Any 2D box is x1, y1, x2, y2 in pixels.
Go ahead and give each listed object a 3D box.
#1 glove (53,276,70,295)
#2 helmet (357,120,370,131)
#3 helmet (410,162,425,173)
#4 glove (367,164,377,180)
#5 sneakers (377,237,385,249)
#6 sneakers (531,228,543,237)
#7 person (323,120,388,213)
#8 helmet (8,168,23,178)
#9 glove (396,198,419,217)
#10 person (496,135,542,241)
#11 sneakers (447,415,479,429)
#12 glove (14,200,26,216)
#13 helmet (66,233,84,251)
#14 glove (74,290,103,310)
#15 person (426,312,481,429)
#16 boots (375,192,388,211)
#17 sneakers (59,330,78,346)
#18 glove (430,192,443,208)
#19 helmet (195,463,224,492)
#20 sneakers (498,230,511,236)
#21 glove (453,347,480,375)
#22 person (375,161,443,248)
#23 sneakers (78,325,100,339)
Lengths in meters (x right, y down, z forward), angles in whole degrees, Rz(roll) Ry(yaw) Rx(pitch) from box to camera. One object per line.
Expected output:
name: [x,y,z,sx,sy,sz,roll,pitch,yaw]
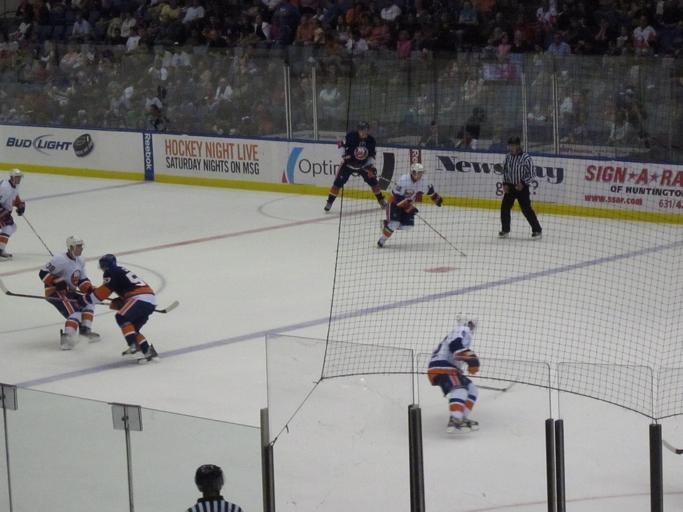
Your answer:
glove: [-3.299,0.347,13.653,0.178,0.129,0.107,7,19,28]
helmet: [0.363,-2.100,18.629,0.202,0.196,0.165,-4,28,6]
helmet: [1.116,-1.287,16.925,0.169,0.156,0.137,-17,3,24]
glove: [0.520,-1.396,19.037,0.143,0.200,0.205,-1,4,2]
sneakers: [0.603,-0.220,17.046,0.125,0.177,0.256,-2,16,1]
sneakers: [2.891,-0.339,17.043,0.086,0.129,0.132,10,19,-38]
person: [0.266,-1.493,19.073,0.922,1.546,0.856,-9,18,-22]
helmet: [-4.843,-1.199,17.080,0.208,0.172,0.161,-4,25,0]
glove: [0.991,-0.726,17.066,0.307,0.199,0.108,17,13,-24]
person: [2.660,-1.034,17.082,0.654,1.495,0.539,2,17,16]
sneakers: [1.168,1.599,11.190,0.332,0.146,0.121,-1,11,-16]
glove: [-4.792,-0.723,17.240,0.191,0.127,0.239,2,3,-11]
helmet: [-3.161,-0.155,13.658,0.180,0.147,0.139,-3,19,3]
glove: [-2.975,0.508,13.429,0.242,0.091,0.247,26,15,31]
person: [1.136,1.196,11.563,0.544,0.490,1.135,1,55,1]
boots: [0.691,-0.945,19.308,0.181,0.391,0.130,-14,29,-11]
sneakers: [-3.212,0.978,13.644,0.134,0.217,0.215,-6,2,-8]
glove: [1.415,-0.826,17.146,0.156,0.281,0.494,-1,17,6]
helmet: [-1.073,1.820,9.411,0.207,0.209,0.221,2,10,4]
sneakers: [2.436,-0.343,17.189,0.115,0.114,0.064,6,10,17]
glove: [1.255,1.049,11.340,0.176,0.292,0.096,-18,-1,-12]
person: [0.970,-0.687,17.015,0.939,1.049,0.421,-8,17,-19]
sneakers: [-2.963,0.925,13.767,0.292,0.205,0.105,3,18,-1]
